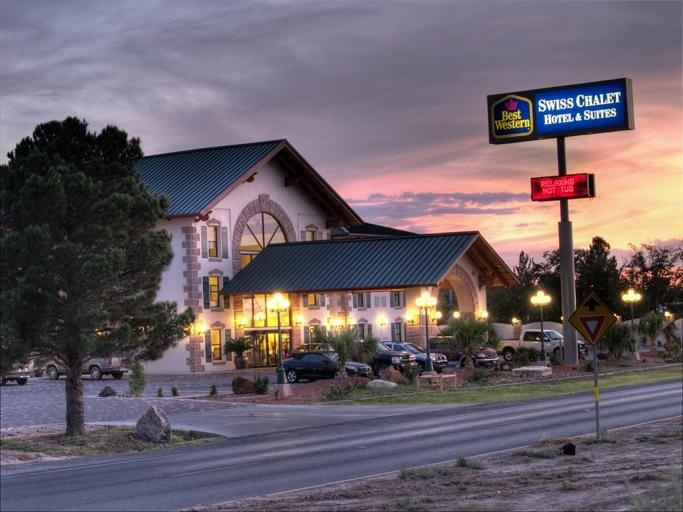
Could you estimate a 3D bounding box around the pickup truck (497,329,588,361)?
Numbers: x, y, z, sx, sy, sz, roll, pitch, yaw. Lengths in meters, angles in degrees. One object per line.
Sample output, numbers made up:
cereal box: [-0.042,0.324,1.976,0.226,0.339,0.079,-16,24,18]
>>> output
pickup truck: [12.633,5.855,58.329,5.249,2.374,2.407,-5,-6,41]

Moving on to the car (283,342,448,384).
car: [0.174,5.693,45.975,6.007,2.148,2.882,-4,-5,14]
